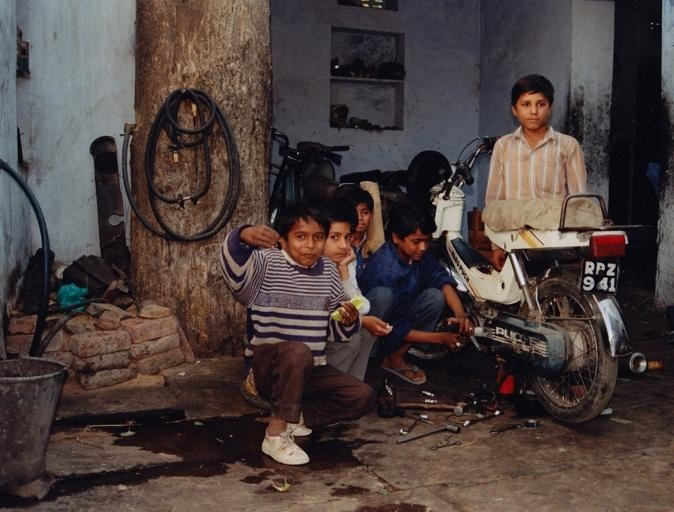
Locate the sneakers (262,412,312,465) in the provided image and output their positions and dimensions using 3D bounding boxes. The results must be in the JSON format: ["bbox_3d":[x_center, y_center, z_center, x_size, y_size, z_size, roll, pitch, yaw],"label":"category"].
[{"bbox_3d":[-0.295,1.066,4.279,0.278,0.175,0.396,0,7,-4],"label":"sneakers"}]

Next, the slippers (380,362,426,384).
[{"bbox_3d":[0.487,0.857,5.404,0.248,0.068,0.134,13,20,35],"label":"slippers"}]

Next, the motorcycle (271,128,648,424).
[{"bbox_3d":[1.240,0.050,5.527,1.314,1.556,2.619,-5,16,-42],"label":"motorcycle"}]
